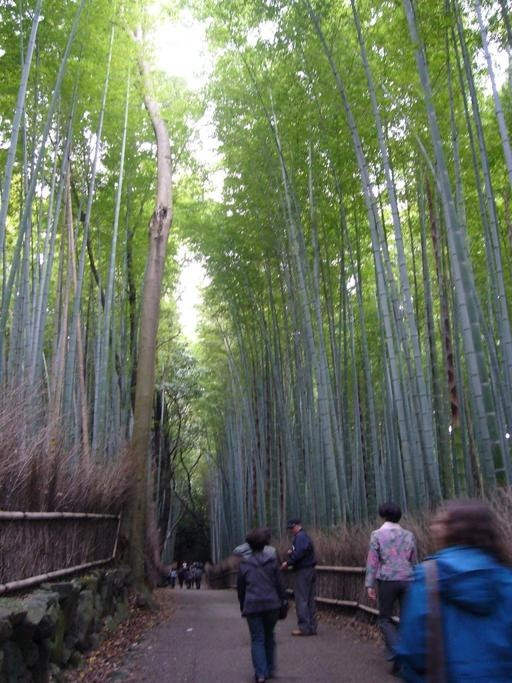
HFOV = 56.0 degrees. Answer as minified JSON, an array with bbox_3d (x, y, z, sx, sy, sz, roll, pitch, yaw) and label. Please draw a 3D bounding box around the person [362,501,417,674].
[{"bbox_3d":[0.777,1.337,2.731,0.161,1.004,0.217,-6,6,3],"label":"person"}]
